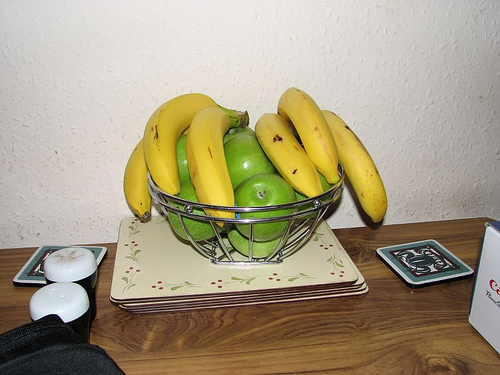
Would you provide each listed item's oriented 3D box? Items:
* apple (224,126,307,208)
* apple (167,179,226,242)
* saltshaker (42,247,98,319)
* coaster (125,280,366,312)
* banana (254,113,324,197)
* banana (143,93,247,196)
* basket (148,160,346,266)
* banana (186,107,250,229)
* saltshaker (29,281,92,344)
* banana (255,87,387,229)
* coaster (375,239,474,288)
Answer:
[{"bbox_3d":[0.017,-0.017,0.693,0.082,0.071,0.168,-21,63,-19],"label":"apple"},{"bbox_3d":[-0.102,0.021,0.697,0.097,0.120,0.104,7,16,35],"label":"apple"},{"bbox_3d":[-0.257,0.136,0.614,0.073,0.098,0.087,0,23,-7],"label":"saltshaker"},{"bbox_3d":[-0.026,0.181,0.660,0.160,0.009,0.113,-3,13,-13],"label":"coaster"},{"bbox_3d":[0.052,-0.068,0.713,0.065,0.064,0.204,-28,66,-5],"label":"banana"},{"bbox_3d":[-0.082,-0.084,0.693,0.158,0.159,0.181,-2,21,-9],"label":"banana"},{"bbox_3d":[-0.012,0.033,0.630,0.240,0.108,0.235,-27,39,-35],"label":"basket"},{"bbox_3d":[-0.068,-0.053,0.652,0.074,0.077,0.204,-4,43,-3],"label":"banana"},{"bbox_3d":[-0.254,0.167,0.526,0.064,0.067,0.074,21,24,33],"label":"saltshaker"},{"bbox_3d":[0.110,-0.049,0.693,0.281,0.061,0.182,35,54,26],"label":"banana"},{"bbox_3d":[0.332,0.141,0.758,0.147,0.031,0.110,-9,43,-9],"label":"coaster"}]
